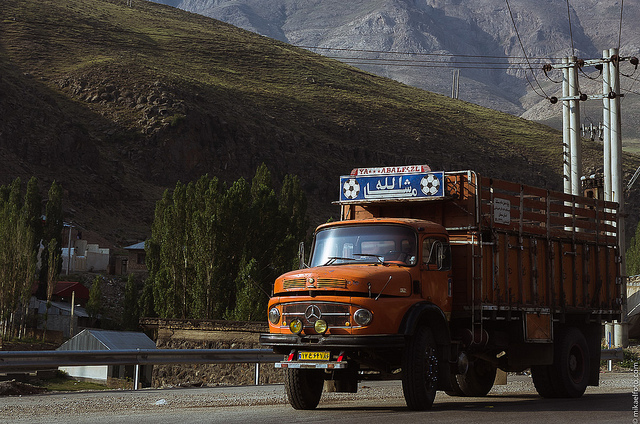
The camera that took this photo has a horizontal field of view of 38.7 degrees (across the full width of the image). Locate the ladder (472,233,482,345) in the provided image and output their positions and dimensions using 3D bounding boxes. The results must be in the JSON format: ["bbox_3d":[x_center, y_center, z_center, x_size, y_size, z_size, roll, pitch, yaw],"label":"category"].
[{"bbox_3d":[5.950,3.016,34.651,0.481,3.944,0.139,4,-5,-39],"label":"ladder"}]

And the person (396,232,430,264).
[{"bbox_3d":[3.320,1.380,33.799,0.948,1.215,0.418,7,0,12],"label":"person"}]
